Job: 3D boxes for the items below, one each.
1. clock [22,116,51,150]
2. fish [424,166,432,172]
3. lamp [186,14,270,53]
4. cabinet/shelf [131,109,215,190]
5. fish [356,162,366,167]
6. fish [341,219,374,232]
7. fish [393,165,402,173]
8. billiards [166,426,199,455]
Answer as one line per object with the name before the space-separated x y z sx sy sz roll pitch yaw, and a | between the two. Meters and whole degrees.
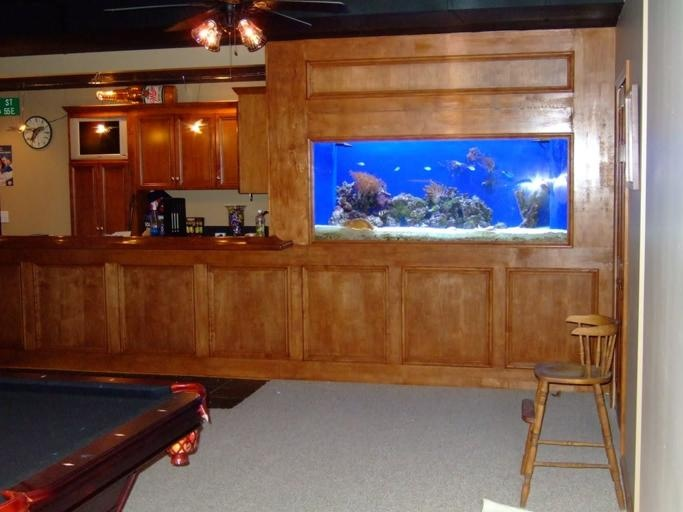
clock | -4.194 -1.712 8.392 0.459 0.446 0.066 3 3 15
fish | 0.751 -0.772 5.345 0.063 0.041 0.008 2 9 14
lamp | -0.930 -1.832 4.972 0.725 0.281 0.302 2 -24 -6
cabinet/shelf | -2.073 -1.374 7.600 1.017 0.850 0.392 0 2 9
fish | 0.169 -0.820 5.413 0.086 0.046 0.026 2 -1 8
fish | 0.147 -0.284 5.461 0.265 0.103 0.050 3 9 20
fish | 0.485 -0.773 5.386 0.039 0.048 0.016 25 -3 -4
billiards | -0.702 0.820 2.691 0.115 0.107 0.097 9 -14 -35
